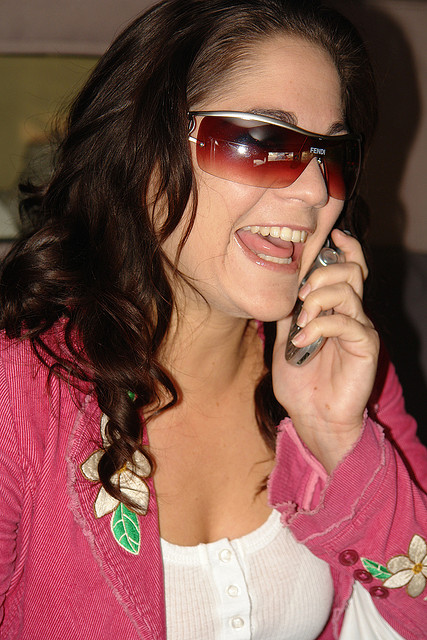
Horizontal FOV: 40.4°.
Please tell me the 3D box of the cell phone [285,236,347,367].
[{"bbox_3d":[0.224,-0.040,1.296,0.141,0.273,0.074,16,8,31],"label":"cell phone"}]
